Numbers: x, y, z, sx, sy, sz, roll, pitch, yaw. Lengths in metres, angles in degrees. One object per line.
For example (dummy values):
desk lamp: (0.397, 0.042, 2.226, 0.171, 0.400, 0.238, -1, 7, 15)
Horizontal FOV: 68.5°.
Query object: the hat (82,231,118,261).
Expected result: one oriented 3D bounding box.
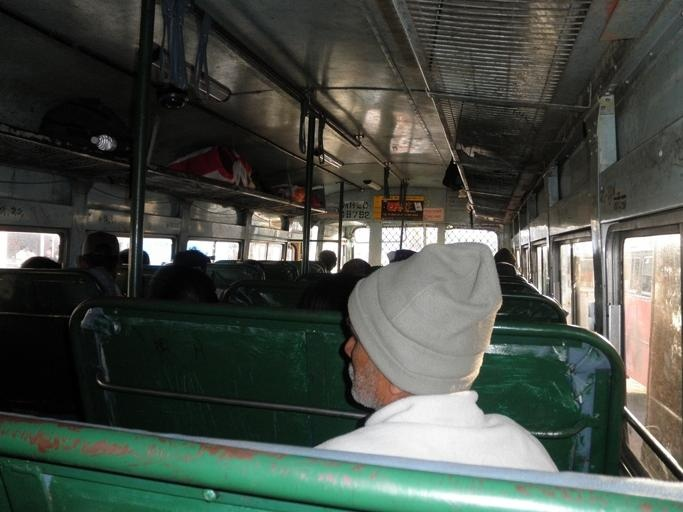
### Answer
hat: (-2.615, -0.142, 5.475, 0.346, 0.282, 0.852, 3, -1, -27)
